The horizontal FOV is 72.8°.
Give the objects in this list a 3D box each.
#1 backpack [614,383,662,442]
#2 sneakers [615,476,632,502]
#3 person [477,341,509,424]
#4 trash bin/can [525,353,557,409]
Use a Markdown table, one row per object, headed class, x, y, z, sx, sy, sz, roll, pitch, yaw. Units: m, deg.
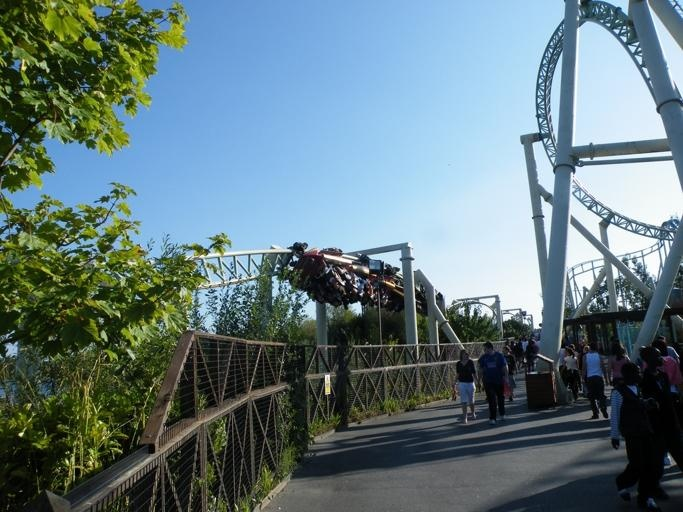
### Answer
| class | x | y | z | sx | sy | sz | roll | pitch | yaw |
| --- | --- | --- | --- | --- | --- | --- | --- | --- | --- |
| backpack | 3.811 | 1.920 | 5.906 | 0.481 | 0.590 | 0.357 | -16 | -23 | 38 |
| sneakers | 3.638 | 2.995 | 5.970 | 0.159 | 0.311 | 0.290 | -8 | -12 | 29 |
| person | 4.065 | 3.314 | 12.367 | 0.726 | 2.206 | 0.665 | -7 | 1 | 5 |
| trash bin/can | 6.314 | 3.976 | 14.736 | 0.859 | 1.722 | 1.044 | -2 | -16 | 17 |
